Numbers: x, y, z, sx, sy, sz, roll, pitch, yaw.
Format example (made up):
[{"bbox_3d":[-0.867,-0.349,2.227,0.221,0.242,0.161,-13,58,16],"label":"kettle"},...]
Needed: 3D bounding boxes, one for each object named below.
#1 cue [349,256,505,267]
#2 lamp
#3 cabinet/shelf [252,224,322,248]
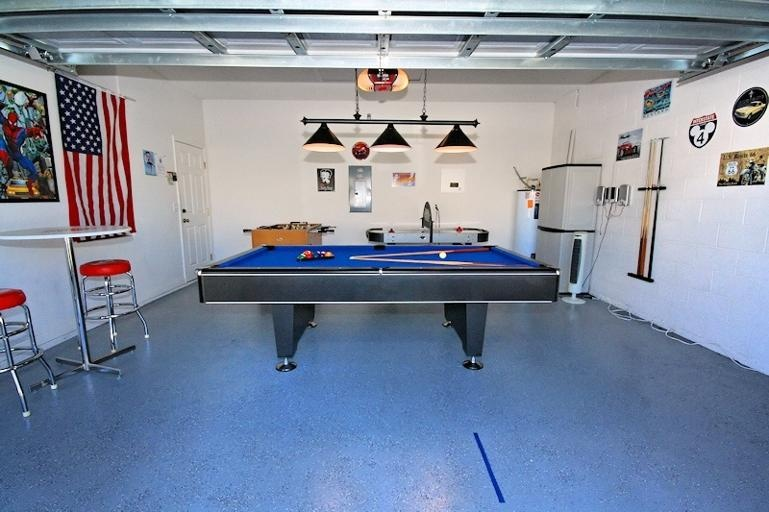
[{"bbox_3d":[0.432,0.053,5.030,1.445,0.047,0.049,3,-13,-10],"label":"cue"},{"bbox_3d":[0.078,-1.909,6.040,2.285,1.104,0.509,1,-4,2],"label":"lamp"},{"bbox_3d":[-1.518,-0.281,7.241,1.000,0.309,1.662,-1,8,-3],"label":"cabinet/shelf"}]
